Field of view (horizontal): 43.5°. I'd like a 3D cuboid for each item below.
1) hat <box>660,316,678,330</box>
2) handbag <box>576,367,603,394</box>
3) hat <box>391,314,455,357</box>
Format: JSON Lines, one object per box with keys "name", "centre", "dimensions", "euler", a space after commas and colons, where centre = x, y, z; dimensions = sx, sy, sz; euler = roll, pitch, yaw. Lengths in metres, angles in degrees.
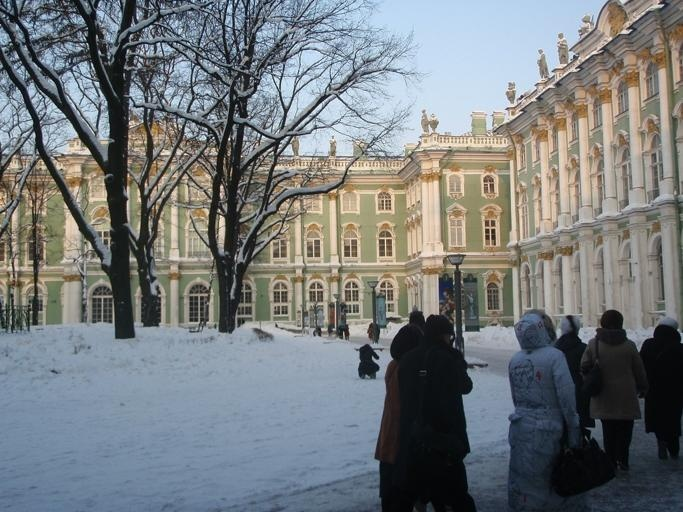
{"name": "hat", "centre": [5.878, 1.173, 15.324], "dimensions": [0.294, 0.169, 0.220], "euler": [15, -8, 28]}
{"name": "handbag", "centre": [4.187, 2.111, 14.385], "dimensions": [0.206, 0.414, 0.351], "euler": [10, -43, 0]}
{"name": "hat", "centre": [1.175, 1.133, 12.471], "dimensions": [0.824, 0.727, 0.600], "euler": [-16, 10, -26]}
